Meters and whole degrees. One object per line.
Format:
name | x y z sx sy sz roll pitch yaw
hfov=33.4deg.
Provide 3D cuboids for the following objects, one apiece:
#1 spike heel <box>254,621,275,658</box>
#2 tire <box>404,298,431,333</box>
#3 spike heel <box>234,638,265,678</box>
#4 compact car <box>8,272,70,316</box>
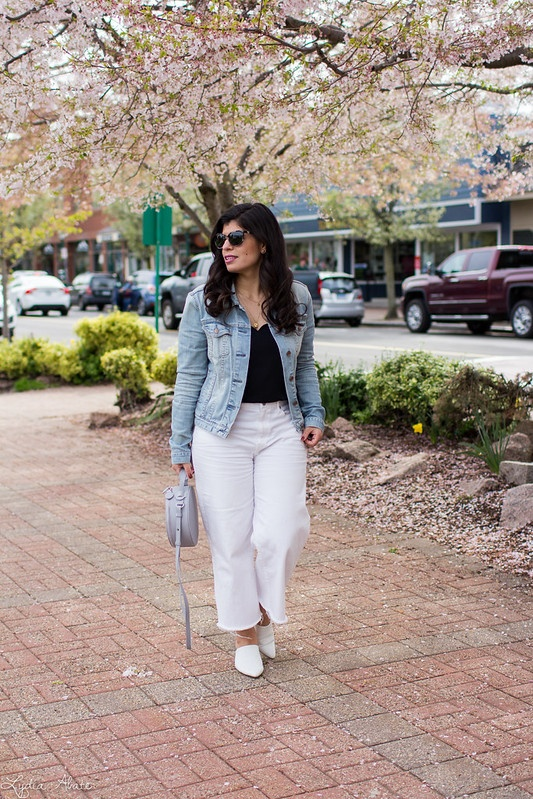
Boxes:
spike heel | -0.001 0.943 3.471 0.055 0.063 0.156 -11 16 -8
tire | 3.661 -2.059 21.577 0.294 0.829 0.863 -3 7 -26
spike heel | -0.059 0.972 3.298 0.070 0.052 0.137 -3 9 -13
compact car | -8.310 -3.566 32.392 2.210 1.476 4.566 -2 10 -20
